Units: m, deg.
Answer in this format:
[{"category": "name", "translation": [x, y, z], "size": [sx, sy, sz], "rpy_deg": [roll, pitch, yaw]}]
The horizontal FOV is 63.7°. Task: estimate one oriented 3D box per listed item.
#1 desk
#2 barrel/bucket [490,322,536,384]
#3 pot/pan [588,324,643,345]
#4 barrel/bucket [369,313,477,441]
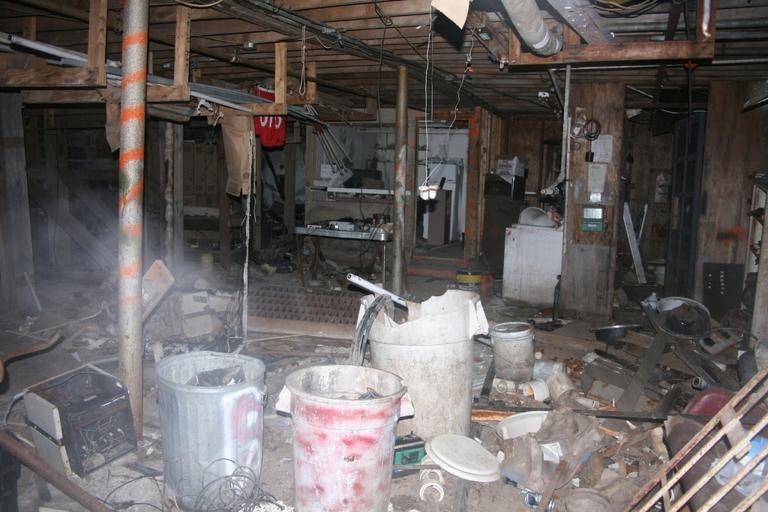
[{"category": "desk", "translation": [-0.799, -0.131, 11.586], "size": [1.685, 1.003, 3.432], "rpy_deg": [2, 9, -5]}, {"category": "barrel/bucket", "translation": [1.567, 1.162, 7.660], "size": [0.635, 0.676, 0.601], "rpy_deg": [-2, 3, 0]}, {"category": "pot/pan", "translation": [3.181, 1.045, 8.473], "size": [0.370, 0.159, 0.370], "rpy_deg": [-15, -5, 5]}, {"category": "barrel/bucket", "translation": [0.542, 1.133, 6.624], "size": [0.993, 1.597, 1.057], "rpy_deg": [-3, 19, 1]}]
